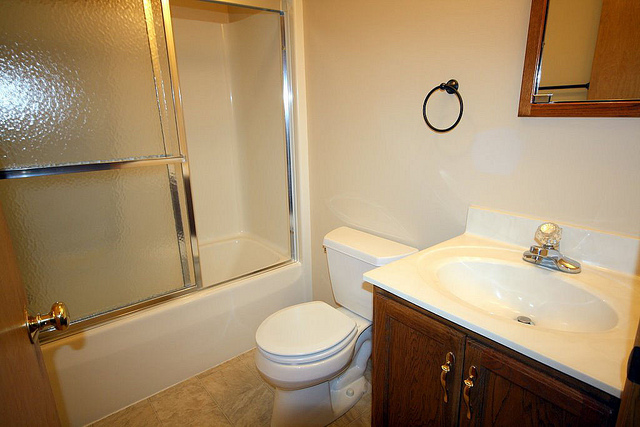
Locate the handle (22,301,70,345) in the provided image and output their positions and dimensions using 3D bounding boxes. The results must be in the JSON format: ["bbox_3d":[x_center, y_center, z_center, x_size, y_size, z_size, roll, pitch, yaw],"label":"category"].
[{"bbox_3d":[-0.996,0.383,1.524,0.164,0.167,0.119,-10,-5,-7],"label":"handle"}]

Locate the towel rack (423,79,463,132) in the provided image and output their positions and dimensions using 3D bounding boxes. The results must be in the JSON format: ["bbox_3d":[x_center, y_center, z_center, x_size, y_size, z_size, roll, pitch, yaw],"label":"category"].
[{"bbox_3d":[0.614,-0.542,2.118,0.185,0.237,0.049,6,15,38],"label":"towel rack"}]

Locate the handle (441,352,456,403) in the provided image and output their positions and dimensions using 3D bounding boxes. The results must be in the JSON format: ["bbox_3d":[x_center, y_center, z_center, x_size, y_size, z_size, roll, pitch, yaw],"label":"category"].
[{"bbox_3d":[0.501,0.644,1.664,0.029,0.220,0.044,-14,21,-33],"label":"handle"}]

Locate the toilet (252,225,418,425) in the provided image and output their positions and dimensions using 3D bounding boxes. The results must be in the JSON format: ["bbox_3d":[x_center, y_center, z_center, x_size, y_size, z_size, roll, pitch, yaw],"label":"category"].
[{"bbox_3d":[0.030,0.566,2.594,1.083,1.165,0.792,-13,23,-41],"label":"toilet"}]

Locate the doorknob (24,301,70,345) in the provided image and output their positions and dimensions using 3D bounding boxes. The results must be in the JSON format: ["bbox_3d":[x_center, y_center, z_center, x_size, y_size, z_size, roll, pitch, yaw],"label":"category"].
[{"bbox_3d":[-0.955,0.384,1.556,0.155,0.159,0.187,-3,14,-26],"label":"doorknob"}]

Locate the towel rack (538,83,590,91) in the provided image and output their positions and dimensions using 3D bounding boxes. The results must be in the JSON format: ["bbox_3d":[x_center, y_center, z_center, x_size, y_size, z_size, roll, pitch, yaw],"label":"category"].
[{"bbox_3d":[1.036,-0.534,1.778,0.202,0.030,0.035,6,16,38],"label":"towel rack"}]

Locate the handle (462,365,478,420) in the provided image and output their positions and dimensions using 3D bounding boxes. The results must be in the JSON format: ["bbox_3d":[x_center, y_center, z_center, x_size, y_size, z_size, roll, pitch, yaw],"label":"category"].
[{"bbox_3d":[0.568,0.682,1.611,0.050,0.219,0.036,6,20,24],"label":"handle"}]
